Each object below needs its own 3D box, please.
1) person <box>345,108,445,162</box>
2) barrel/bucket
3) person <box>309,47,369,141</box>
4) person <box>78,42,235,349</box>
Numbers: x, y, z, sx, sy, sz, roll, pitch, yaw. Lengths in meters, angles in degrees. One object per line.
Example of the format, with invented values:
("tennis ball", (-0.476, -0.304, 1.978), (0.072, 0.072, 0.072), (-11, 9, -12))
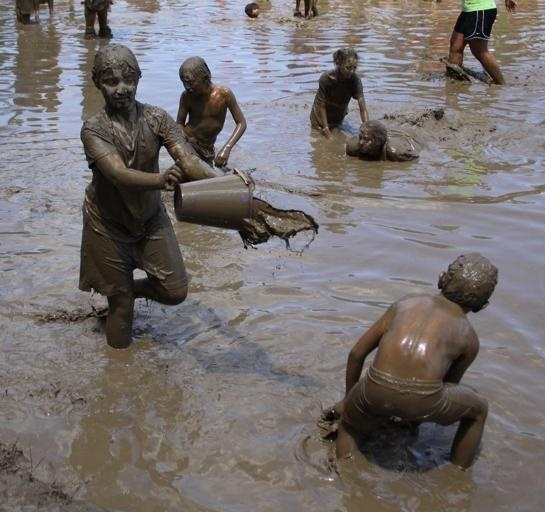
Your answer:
("person", (1.525, -1.436, 8.964), (0.750, 0.324, 1.004), (14, 25, 35))
("barrel/bucket", (-0.349, -0.327, 4.194), (0.434, 0.326, 0.335), (1, 2, -19))
("person", (0.959, -2.182, 9.603), (0.858, 1.098, 0.785), (1, 32, -5))
("person", (-0.863, -0.270, 4.491), (0.912, 1.999, 0.726), (1, 22, -1))
